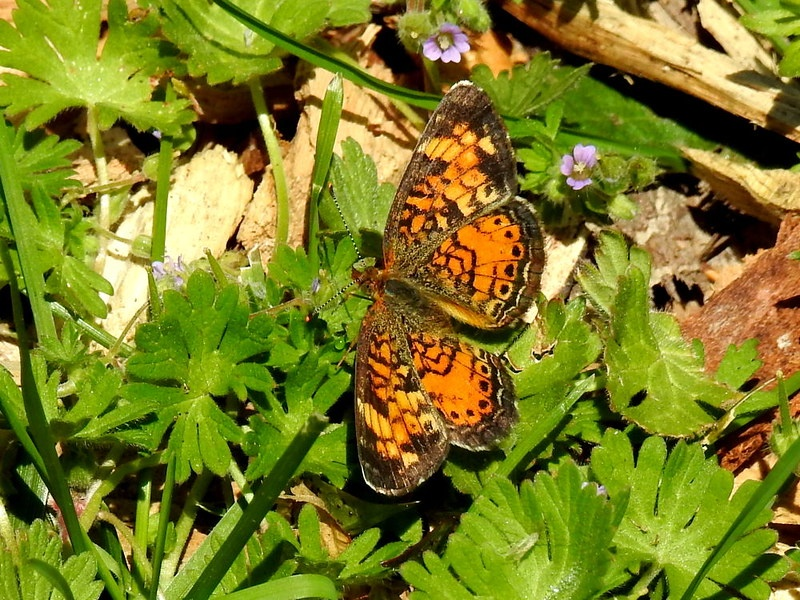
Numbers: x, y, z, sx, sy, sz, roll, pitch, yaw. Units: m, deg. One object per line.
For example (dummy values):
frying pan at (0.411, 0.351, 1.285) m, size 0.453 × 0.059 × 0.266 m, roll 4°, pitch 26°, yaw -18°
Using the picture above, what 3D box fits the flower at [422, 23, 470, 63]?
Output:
flower at (0.235, -1.320, 4.237) m, size 0.205 × 0.222 × 0.092 m, roll -1°, pitch 18°, yaw -9°
